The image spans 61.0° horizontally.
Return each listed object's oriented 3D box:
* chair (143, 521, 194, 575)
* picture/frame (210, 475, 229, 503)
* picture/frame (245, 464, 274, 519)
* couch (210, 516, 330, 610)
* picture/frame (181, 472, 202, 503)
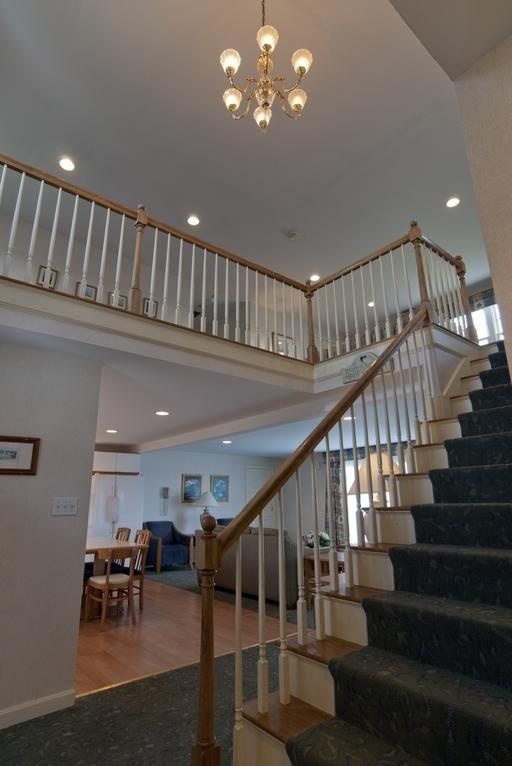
[{"bbox_3d":[-1.908,3.469,9.245,0.849,1.172,0.902,6,-23,-29],"label":"chair"},{"bbox_3d":[-0.960,2.691,11.074,0.043,0.718,0.554,-18,-26,34],"label":"picture/frame"},{"bbox_3d":[0.183,3.091,12.346,0.551,1.511,1.528,-6,-14,18],"label":"picture/frame"},{"bbox_3d":[0.095,2.547,6.271,1.368,0.945,0.649,-14,-20,43],"label":"couch"},{"bbox_3d":[-1.596,2.537,10.539,0.045,0.731,0.569,-13,-17,37],"label":"picture/frame"}]
